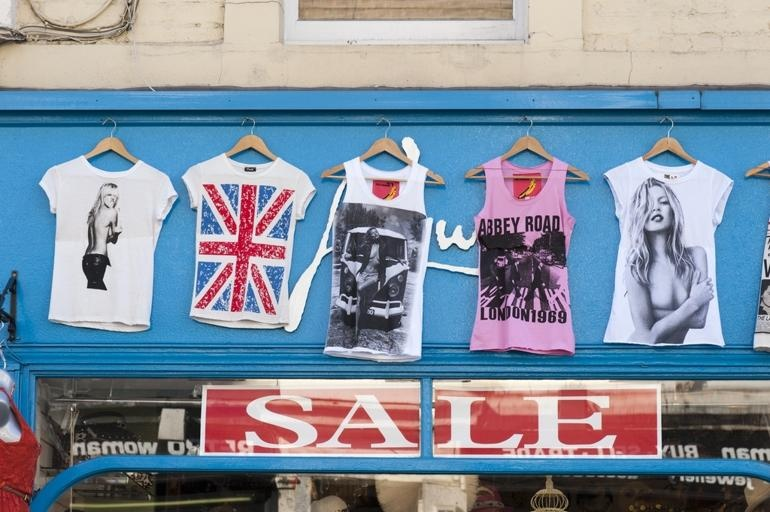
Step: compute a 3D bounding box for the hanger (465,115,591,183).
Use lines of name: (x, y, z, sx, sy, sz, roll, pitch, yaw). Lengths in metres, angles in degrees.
hanger: (0.940, -0.709, 13.428, 0.830, 0.421, 0.153, -1, -19, 0)

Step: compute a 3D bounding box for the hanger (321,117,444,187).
hanger: (-0.024, -0.648, 13.446, 0.800, 0.469, 0.653, 2, 15, -1)

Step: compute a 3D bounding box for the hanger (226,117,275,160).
hanger: (-0.898, -0.789, 13.455, 0.361, 0.208, 0.026, 2, 5, 4)

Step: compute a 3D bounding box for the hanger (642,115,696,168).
hanger: (1.892, -0.775, 13.400, 0.519, 0.305, 0.008, 1, -3, -34)

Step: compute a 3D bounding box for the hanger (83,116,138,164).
hanger: (-1.841, -0.784, 13.483, 0.403, 0.204, 0.007, 3, 4, 2)
